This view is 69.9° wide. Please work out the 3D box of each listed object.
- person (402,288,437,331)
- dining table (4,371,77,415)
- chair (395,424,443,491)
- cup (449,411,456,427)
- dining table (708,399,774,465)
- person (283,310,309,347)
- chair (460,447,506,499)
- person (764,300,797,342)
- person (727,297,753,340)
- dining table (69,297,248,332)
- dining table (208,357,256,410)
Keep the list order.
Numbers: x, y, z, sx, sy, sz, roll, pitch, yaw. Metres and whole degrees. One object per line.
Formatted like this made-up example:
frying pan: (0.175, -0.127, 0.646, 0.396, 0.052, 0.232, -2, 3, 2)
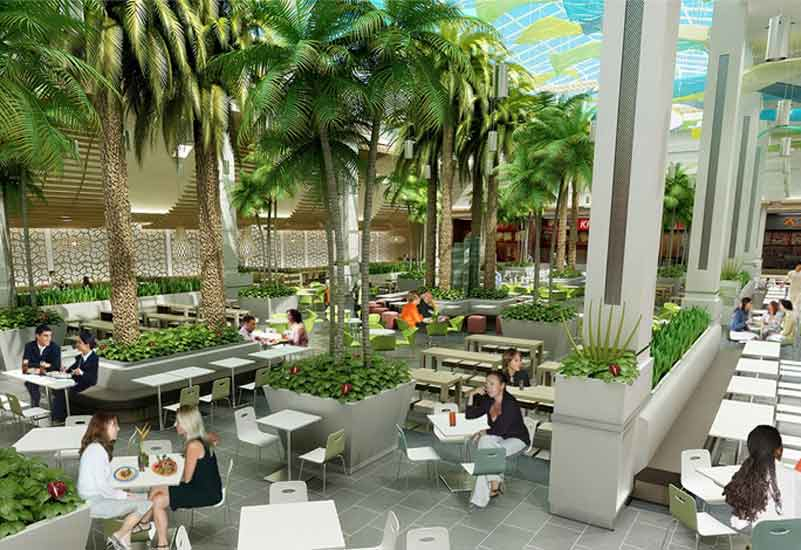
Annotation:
person: (0.549, 1.078, 17.404, 0.812, 1.219, 1.257, 19, 28, 40)
dining table: (-6.453, 2.140, 10.523, 1.536, 0.793, 0.734, 2, 7, 38)
chair: (0.243, 2.854, 9.360, 0.902, 1.296, 0.731, -3, 9, -10)
cup: (0.807, 2.208, 8.939, 0.113, 0.197, 0.258, -1, 5, 4)
dining table: (5.017, 2.350, 8.508, 1.023, 0.941, 0.719, -7, 6, -37)
person: (-2.358, 1.208, 12.786, 0.577, 0.954, 0.630, -5, 10, -23)
chair: (1.233, 2.912, 8.573, 0.597, 0.980, 0.793, -1, 6, 5)
person: (9.150, 1.037, 13.967, 0.613, 1.080, 1.704, 2, 6, 30)
person: (8.987, 1.039, 15.232, 0.462, 1.065, 2.015, 2, 6, 31)
dining table: (-7.615, 1.204, 17.871, 4.639, 0.929, 3.249, -5, 6, -31)
dining table: (-3.474, 2.143, 12.124, 1.001, 1.201, 0.990, 4, 3, 42)
